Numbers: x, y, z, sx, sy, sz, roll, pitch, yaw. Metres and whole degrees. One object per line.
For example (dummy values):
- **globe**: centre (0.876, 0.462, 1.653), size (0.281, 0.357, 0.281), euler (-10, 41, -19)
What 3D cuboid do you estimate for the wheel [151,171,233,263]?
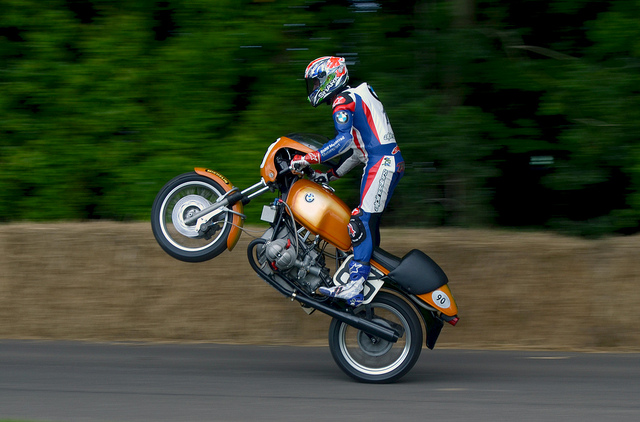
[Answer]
- **wheel**: centre (-1.588, 0.110, 10.548), size (1.761, 0.390, 1.190), euler (5, 87, 7)

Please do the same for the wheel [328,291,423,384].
- **wheel**: centre (0.594, 1.508, 10.053), size (0.355, 1.473, 1.134), euler (-17, 66, 47)
